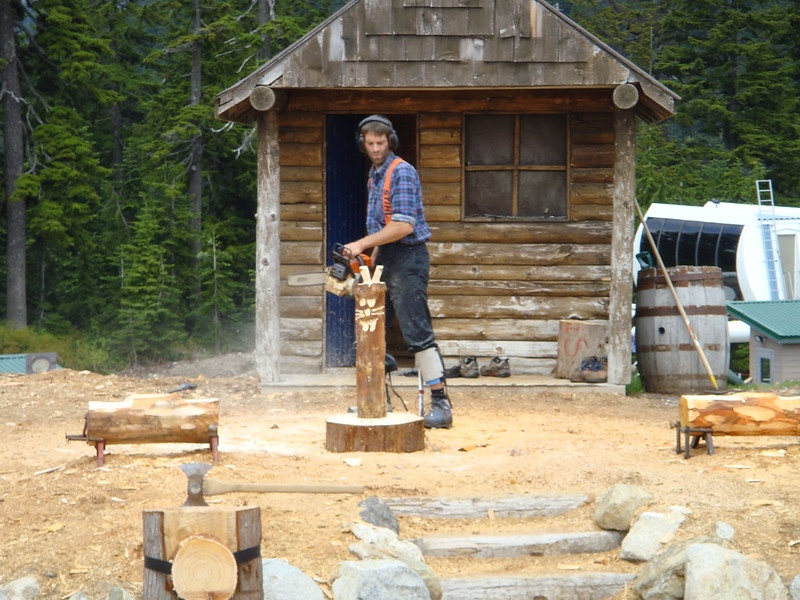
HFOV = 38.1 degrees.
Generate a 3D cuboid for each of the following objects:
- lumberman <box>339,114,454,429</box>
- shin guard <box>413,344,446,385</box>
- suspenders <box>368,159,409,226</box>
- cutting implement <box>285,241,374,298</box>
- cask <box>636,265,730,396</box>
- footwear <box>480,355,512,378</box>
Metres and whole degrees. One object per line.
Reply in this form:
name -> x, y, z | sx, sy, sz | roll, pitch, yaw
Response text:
lumberman -> -0.093, -0.335, 13.869 | 1.271, 3.651, 1.376 | -6, 0, 3
shin guard -> 0.359, 0.804, 13.895 | 0.372, 0.585, 0.422 | 11, 2, -10
suspenders -> -0.129, -1.255, 13.530 | 0.401, 0.783, 0.373 | 0, 4, 13
cutting implement -> -0.717, -0.377, 13.343 | 0.407, 0.547, 1.266 | 15, 20, 42
cask -> 4.144, 0.383, 17.112 | 1.075, 2.117, 0.970 | 0, 6, -6
footwear -> 1.425, 0.961, 17.108 | 0.216, 0.194, 0.442 | -1, 3, -40
